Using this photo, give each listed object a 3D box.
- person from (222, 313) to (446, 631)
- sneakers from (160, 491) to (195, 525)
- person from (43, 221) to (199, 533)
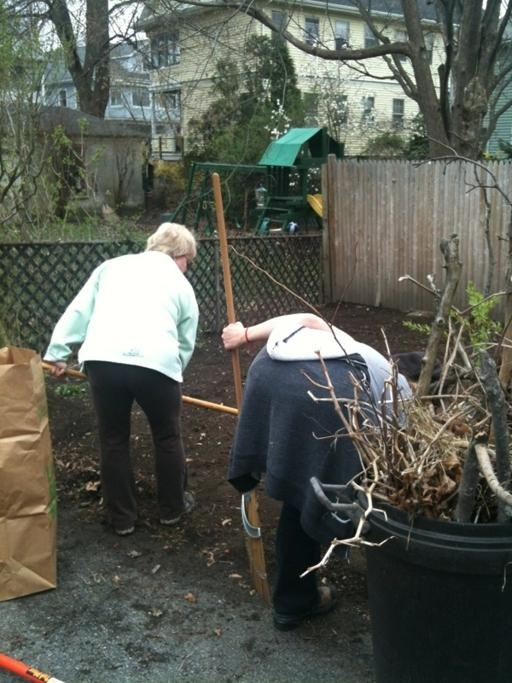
[{"bbox_3d":[0.340,0.480,3.072,0.981,1.160,0.894,-2,12,-18],"label":"person"},{"bbox_3d":[-0.410,0.866,4.017,0.078,0.092,0.225,3,19,17],"label":"sneakers"},{"bbox_3d":[-0.620,0.189,3.761,0.774,1.507,0.601,-4,11,-15],"label":"person"}]
